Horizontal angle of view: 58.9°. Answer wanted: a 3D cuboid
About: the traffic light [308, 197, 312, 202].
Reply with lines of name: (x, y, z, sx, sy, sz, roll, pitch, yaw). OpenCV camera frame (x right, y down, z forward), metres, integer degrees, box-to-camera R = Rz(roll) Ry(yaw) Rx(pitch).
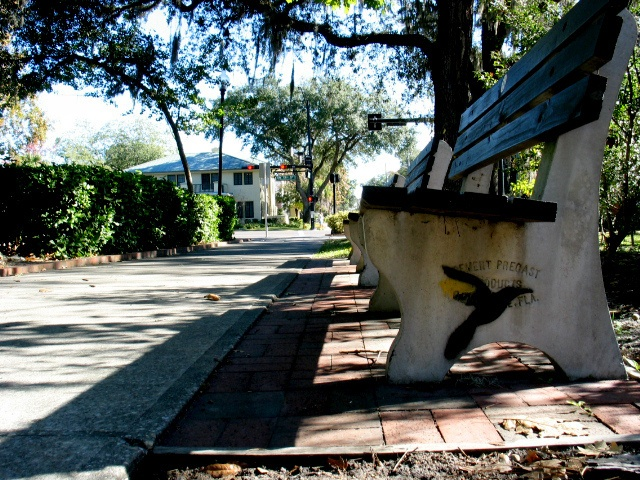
traffic light: (-0.795, -3.186, 44.649, 0.325, 0.381, 0.418, 1, 2, -2)
